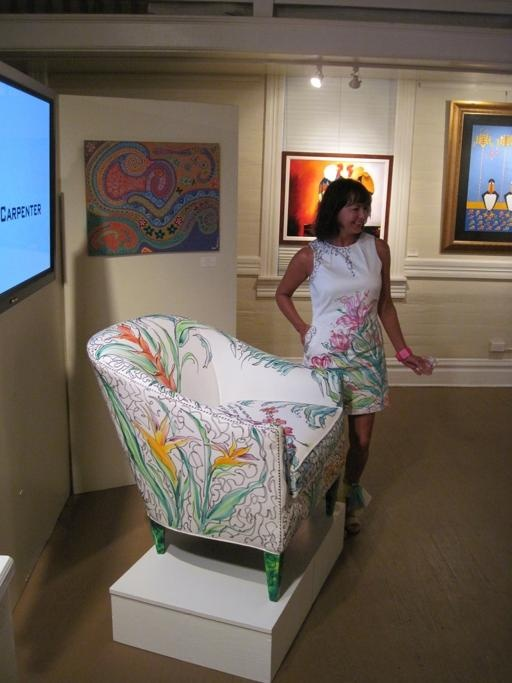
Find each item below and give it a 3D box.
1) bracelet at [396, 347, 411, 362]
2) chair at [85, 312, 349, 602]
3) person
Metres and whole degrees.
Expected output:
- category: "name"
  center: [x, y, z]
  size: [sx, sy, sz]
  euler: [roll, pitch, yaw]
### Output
- category: "bracelet"
  center: [0.585, 0.055, 2.051]
  size: [0.062, 0.043, 0.058]
  euler: [-14, -7, -34]
- category: "chair"
  center: [-0.106, 0.319, 1.713]
  size: [0.743, 0.703, 0.742]
  euler: [1, 9, 12]
- category: "person"
  center: [0.380, 0.086, 2.010]
  size: [0.579, 1.378, 0.329]
  euler: [0, 11, 18]
